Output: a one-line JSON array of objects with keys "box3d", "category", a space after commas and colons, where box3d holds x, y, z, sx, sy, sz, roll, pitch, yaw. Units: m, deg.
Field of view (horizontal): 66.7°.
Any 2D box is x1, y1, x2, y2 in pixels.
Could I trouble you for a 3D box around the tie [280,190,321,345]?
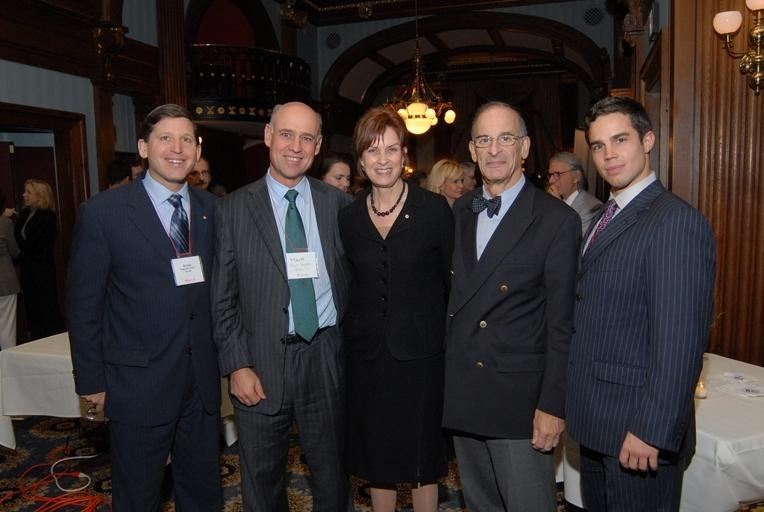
[{"box3d": [-0.473, 0.050, 3.325, 0.147, 0.848, 0.267, -3, 7, -26], "category": "tie"}]
